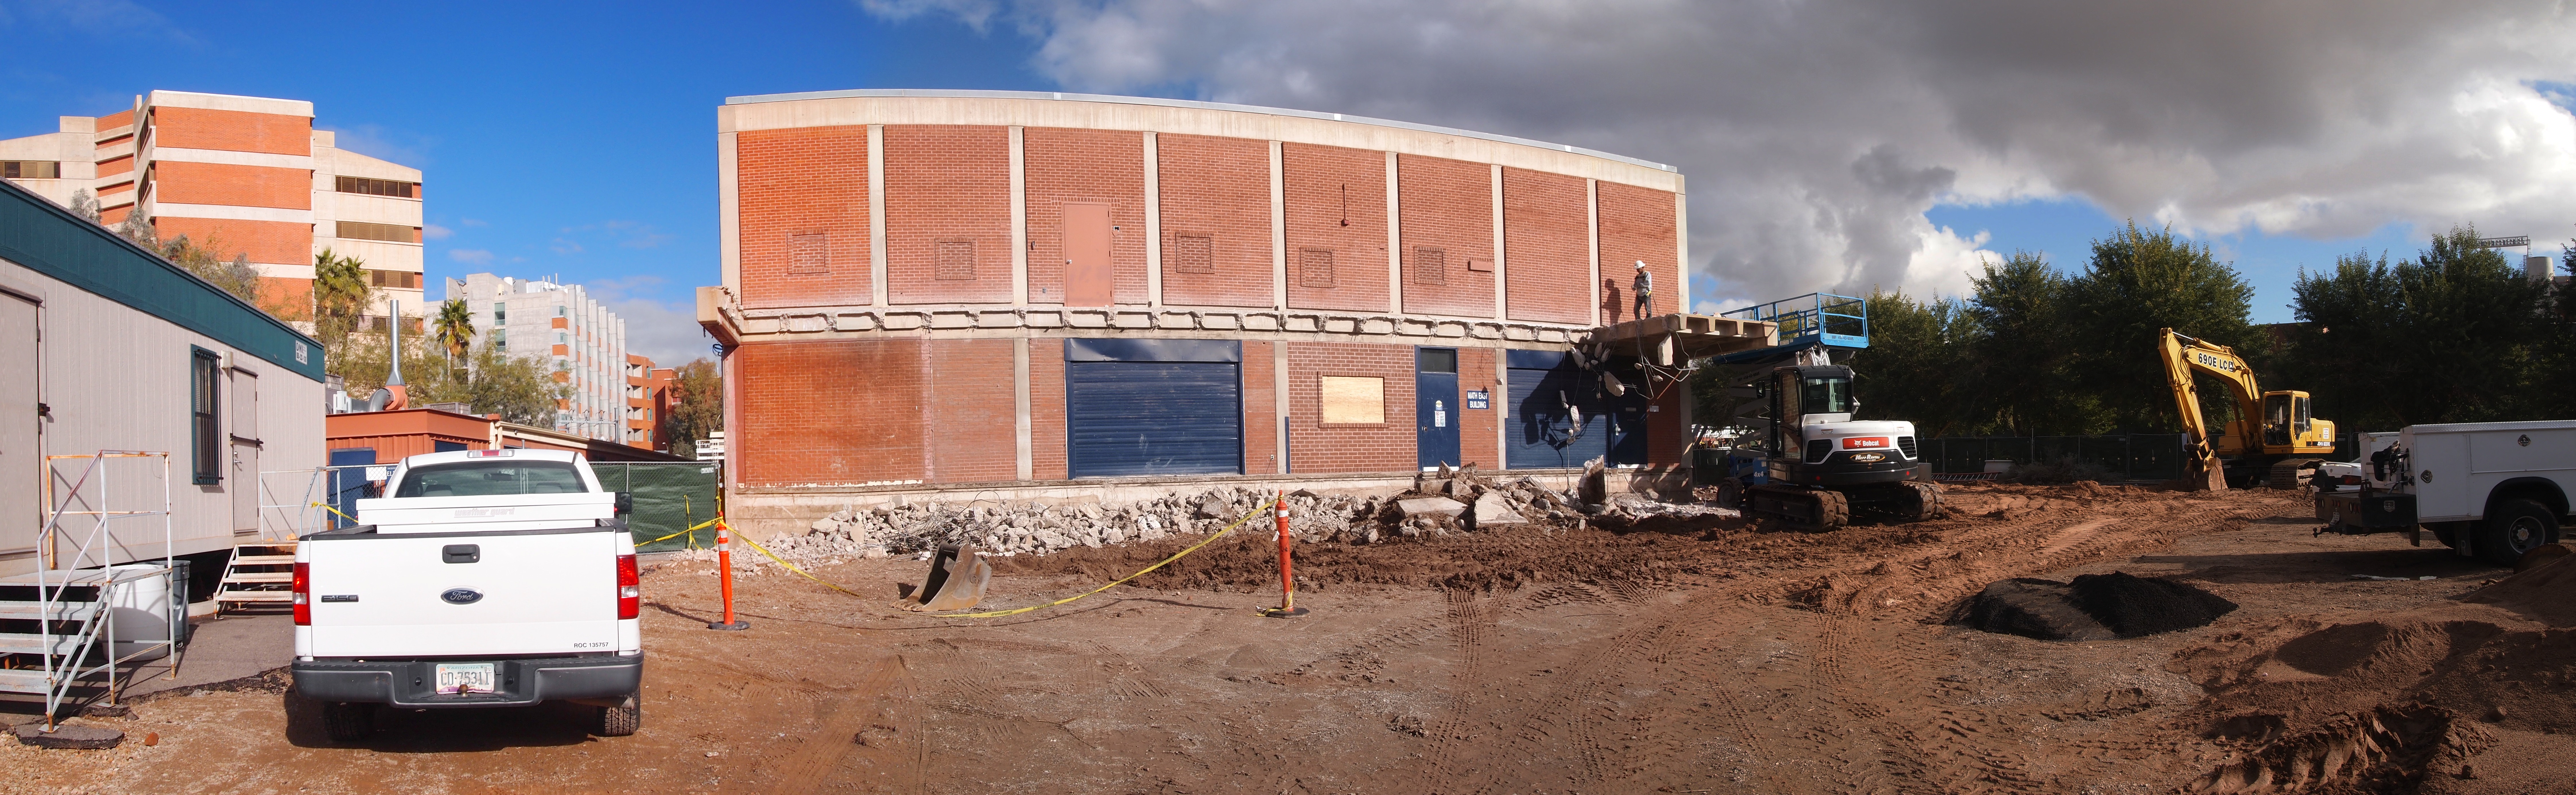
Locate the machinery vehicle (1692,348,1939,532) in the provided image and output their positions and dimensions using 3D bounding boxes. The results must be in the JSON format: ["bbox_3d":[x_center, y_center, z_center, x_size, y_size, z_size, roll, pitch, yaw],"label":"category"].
[{"bbox_3d":[36.626,4.195,110.746,11.491,8.539,19.460,0,0,-20],"label":"machinery vehicle"}]

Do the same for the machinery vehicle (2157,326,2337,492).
[{"bbox_3d":[71.386,0.659,112.104,10.412,11.945,2.435,-5,-6,5],"label":"machinery vehicle"}]
